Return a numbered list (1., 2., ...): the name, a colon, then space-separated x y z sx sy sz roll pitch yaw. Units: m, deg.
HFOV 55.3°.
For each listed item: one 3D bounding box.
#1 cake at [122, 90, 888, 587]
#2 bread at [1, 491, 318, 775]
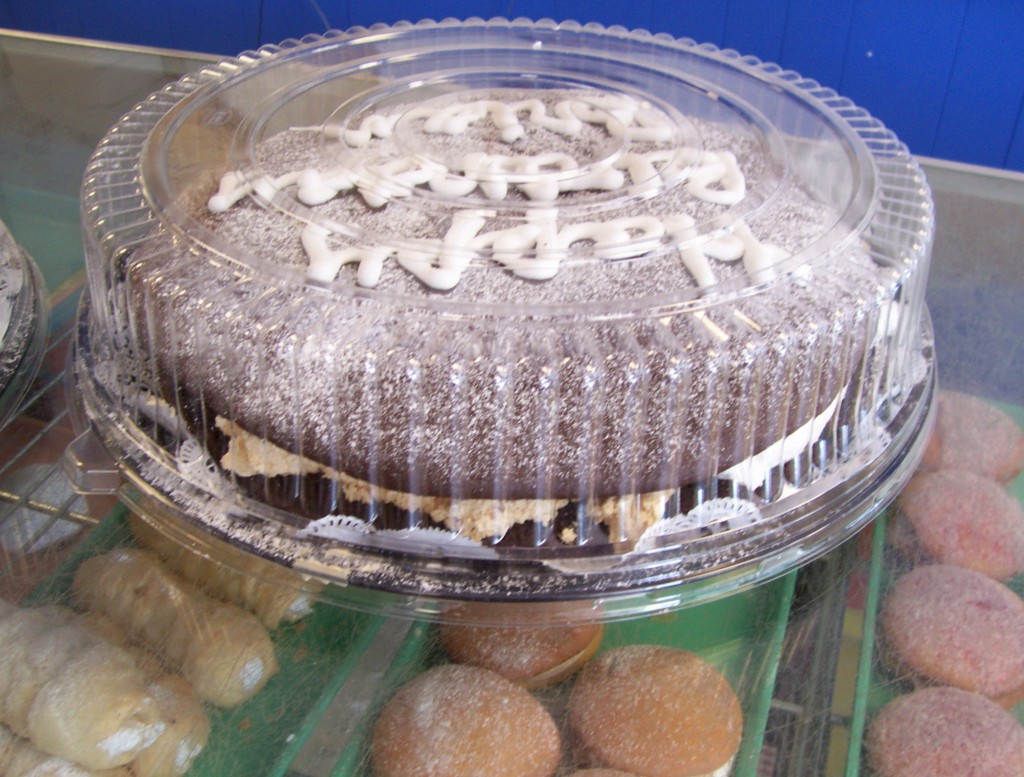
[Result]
1. cake: 0.007 -0.088 0.970 0.719 0.235 0.469 5 45 -5
2. bread: -0.307 0.231 0.898 0.200 0.064 0.208 28 56 19
